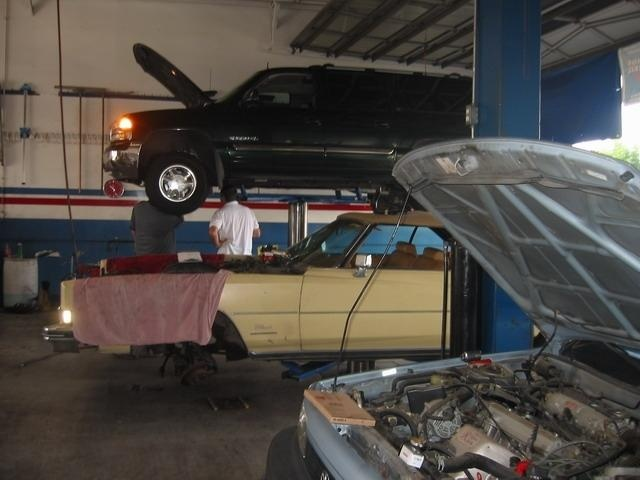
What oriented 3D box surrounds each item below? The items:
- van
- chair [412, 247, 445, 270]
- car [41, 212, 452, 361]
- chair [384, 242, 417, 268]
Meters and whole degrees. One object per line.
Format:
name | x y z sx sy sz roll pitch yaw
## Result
van | -0.530 -1.268 7.843 4.930 2.407 2.025 2 1 -5
chair | 1.153 0.207 5.982 0.227 0.236 0.229 -3 3 -21
car | -0.702 0.566 5.842 3.987 1.192 1.784 2 -1 -5
chair | 0.848 0.175 6.139 0.289 0.307 0.272 -4 6 -24
